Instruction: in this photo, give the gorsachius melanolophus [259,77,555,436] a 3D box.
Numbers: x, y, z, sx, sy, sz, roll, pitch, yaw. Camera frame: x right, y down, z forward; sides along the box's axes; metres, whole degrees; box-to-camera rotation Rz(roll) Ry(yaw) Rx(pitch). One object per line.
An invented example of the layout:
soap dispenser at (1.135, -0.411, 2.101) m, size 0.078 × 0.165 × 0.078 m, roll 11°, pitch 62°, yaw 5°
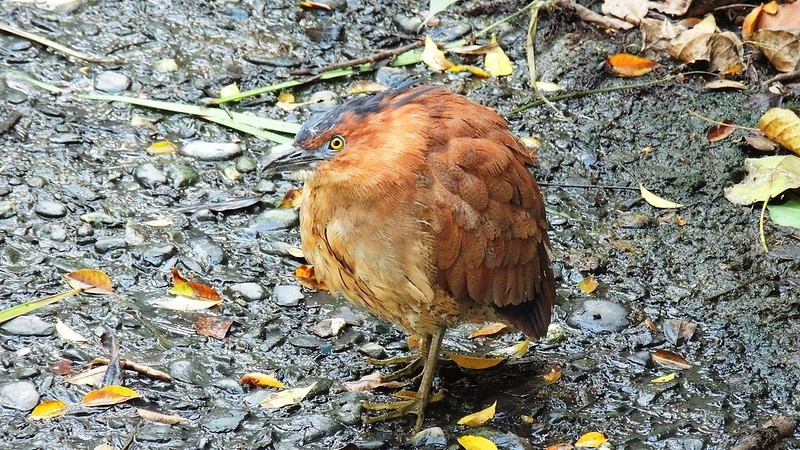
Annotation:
gorsachius melanolophus at (0.087, 0.210, 6.675) m, size 1.665 × 2.784 × 2.500 m, roll 12°, pitch 106°, yaw 51°
